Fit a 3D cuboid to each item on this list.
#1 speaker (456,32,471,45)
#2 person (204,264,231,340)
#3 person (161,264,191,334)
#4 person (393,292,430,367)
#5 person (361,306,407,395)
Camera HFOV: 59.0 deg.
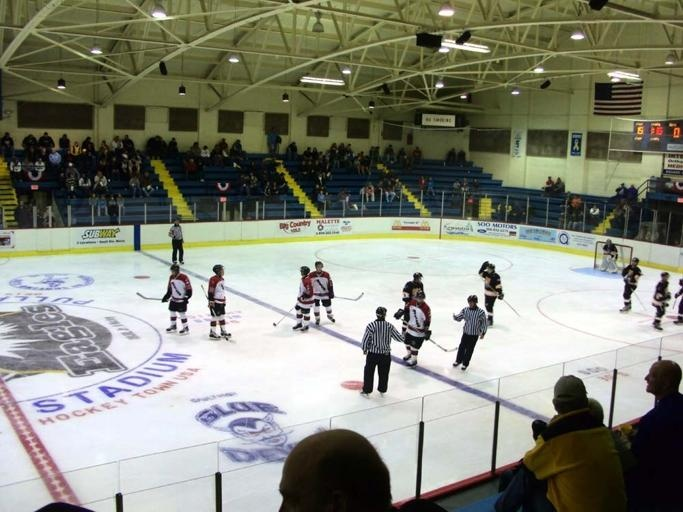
[{"bbox_3d":[4.018,-7.335,20.287,0.385,0.136,0.547,4,-14,-25],"label":"speaker"},{"bbox_3d":[-3.154,1.170,15.542,0.628,1.853,0.698,1,7,-32],"label":"person"},{"bbox_3d":[-4.282,1.120,15.713,0.645,1.865,0.547,10,13,36],"label":"person"},{"bbox_3d":[1.594,1.665,13.729,0.849,1.709,0.726,5,6,32],"label":"person"},{"bbox_3d":[0.750,1.895,12.133,0.886,1.633,0.815,4,3,-22],"label":"person"}]
